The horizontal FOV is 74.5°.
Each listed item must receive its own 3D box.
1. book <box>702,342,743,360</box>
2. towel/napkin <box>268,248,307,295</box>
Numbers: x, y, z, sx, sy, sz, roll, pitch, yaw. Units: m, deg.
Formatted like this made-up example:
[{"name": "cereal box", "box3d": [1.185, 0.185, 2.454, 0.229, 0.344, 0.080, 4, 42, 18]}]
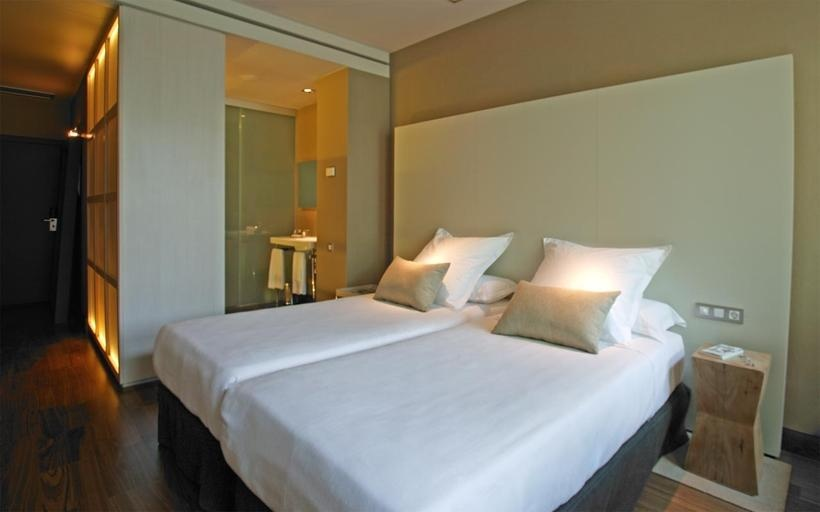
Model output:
[{"name": "book", "box3d": [2.353, 0.711, 4.051, 0.191, 0.025, 0.139, -8, 6, -33]}, {"name": "towel/napkin", "box3d": [-1.529, 0.182, 6.796, 0.564, 0.444, 0.121, 6, 8, 37]}]
